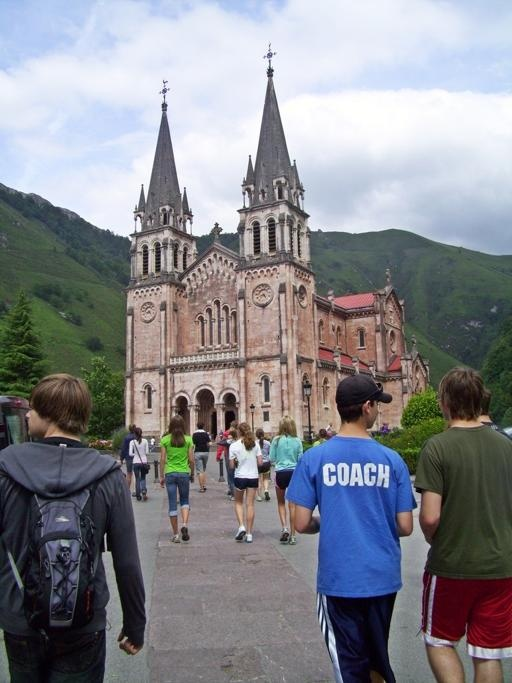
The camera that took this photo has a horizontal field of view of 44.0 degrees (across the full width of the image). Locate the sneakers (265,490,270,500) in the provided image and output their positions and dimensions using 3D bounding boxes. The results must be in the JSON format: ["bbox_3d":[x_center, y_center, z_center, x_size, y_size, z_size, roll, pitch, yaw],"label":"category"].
[{"bbox_3d":[0.257,3.860,15.920,0.085,0.210,0.096,-4,7,8],"label":"sneakers"}]

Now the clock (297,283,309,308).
[{"bbox_3d":[3.120,-3.164,43.560,0.154,1.655,1.689,-15,-18,27],"label":"clock"}]

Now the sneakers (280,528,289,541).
[{"bbox_3d":[0.420,3.054,9.822,0.113,0.100,0.241,2,-51,-4],"label":"sneakers"}]

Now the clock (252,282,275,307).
[{"bbox_3d":[0.487,-3.139,42.575,1.418,1.600,0.191,-13,-12,25],"label":"clock"}]

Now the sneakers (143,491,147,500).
[{"bbox_3d":[-2.828,3.859,15.952,0.069,0.201,0.144,-1,-7,-2],"label":"sneakers"}]

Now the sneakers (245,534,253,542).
[{"bbox_3d":[-0.122,3.067,9.944,0.114,0.119,0.323,-1,-8,3],"label":"sneakers"}]

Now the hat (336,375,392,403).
[{"bbox_3d":[0.612,0.265,3.630,0.275,0.158,0.190,-6,5,-25],"label":"hat"}]

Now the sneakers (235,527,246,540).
[{"bbox_3d":[-0.263,3.014,9.944,0.099,0.110,0.264,10,-43,-16],"label":"sneakers"}]

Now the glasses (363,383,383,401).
[{"bbox_3d":[0.678,0.293,3.630,0.149,0.076,0.097,-4,23,-25],"label":"glasses"}]

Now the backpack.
[{"bbox_3d":[-0.775,0.860,2.493,0.254,0.547,0.247,2,-8,-17],"label":"backpack"}]

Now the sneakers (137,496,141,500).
[{"bbox_3d":[-3.028,4.011,16.273,0.091,0.117,0.123,-2,-2,-17],"label":"sneakers"}]

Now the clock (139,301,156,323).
[{"bbox_3d":[-8.218,-2.217,47.658,1.584,1.616,0.222,-7,-10,38],"label":"clock"}]

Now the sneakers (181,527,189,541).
[{"bbox_3d":[-1.149,3.049,9.989,0.089,0.237,0.102,-3,15,7],"label":"sneakers"}]
